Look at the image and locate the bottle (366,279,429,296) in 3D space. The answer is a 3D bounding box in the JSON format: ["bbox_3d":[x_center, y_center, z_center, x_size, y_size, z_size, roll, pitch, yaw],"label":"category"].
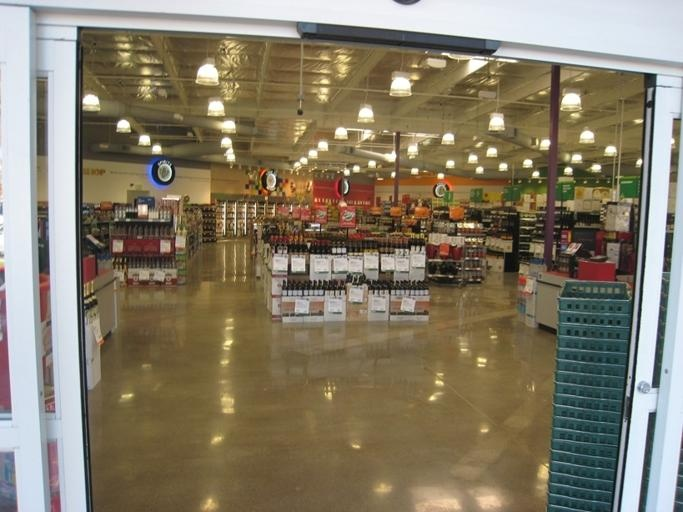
[{"bbox_3d":[0.922,0.536,9.481,1.132,0.236,0.428,0,8,-13],"label":"bottle"}]

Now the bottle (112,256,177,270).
[{"bbox_3d":[-4.448,0.150,12.350,1.346,0.303,0.162,1,8,-8],"label":"bottle"}]
